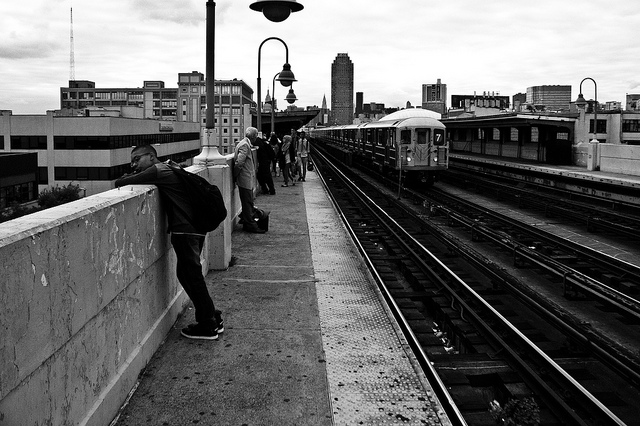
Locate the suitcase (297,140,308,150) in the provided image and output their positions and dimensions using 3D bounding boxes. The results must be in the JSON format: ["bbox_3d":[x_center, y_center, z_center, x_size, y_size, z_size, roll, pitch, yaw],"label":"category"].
[{"bbox_3d":[-0.786,-3.314,25.414,0.524,0.762,0.387,-1,4,-10],"label":"suitcase"}]

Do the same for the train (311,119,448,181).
[{"bbox_3d":[2.484,-5.257,39.094,3.029,3.956,28.027,-1,9,-13],"label":"train"}]

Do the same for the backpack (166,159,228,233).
[{"bbox_3d":[-1.427,-0.160,6.240,0.562,0.742,0.201,0,11,6],"label":"backpack"}]
